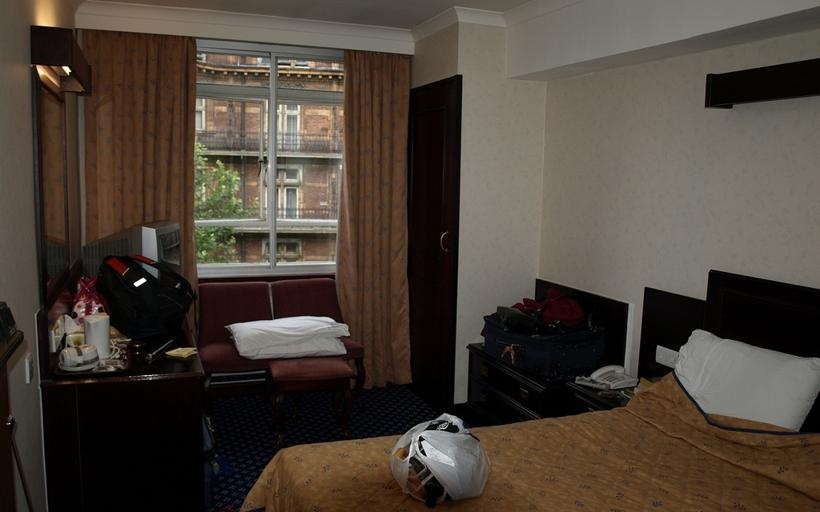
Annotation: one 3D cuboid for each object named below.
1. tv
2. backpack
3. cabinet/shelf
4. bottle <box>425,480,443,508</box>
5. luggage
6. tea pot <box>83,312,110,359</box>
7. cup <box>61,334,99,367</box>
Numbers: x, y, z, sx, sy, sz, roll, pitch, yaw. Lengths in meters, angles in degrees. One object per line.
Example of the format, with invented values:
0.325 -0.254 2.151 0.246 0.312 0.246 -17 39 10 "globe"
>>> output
-2.208 -0.078 4.728 0.568 0.432 0.492 -1 5 -16 "tv"
-1.971 0.276 4.414 0.418 0.404 0.310 43 26 8 "backpack"
0.906 1.170 5.123 0.328 0.630 0.940 -7 16 -30 "cabinet/shelf"
0.132 1.286 3.264 0.099 0.144 0.043 7 4 10 "bottle"
1.173 0.698 5.109 0.712 0.454 0.769 -9 10 -33 "luggage"
-2.162 0.532 4.087 0.211 0.349 0.229 -3 -2 0 "tea pot"
-2.195 0.631 3.978 0.232 0.176 0.286 -5 8 -24 "cup"
